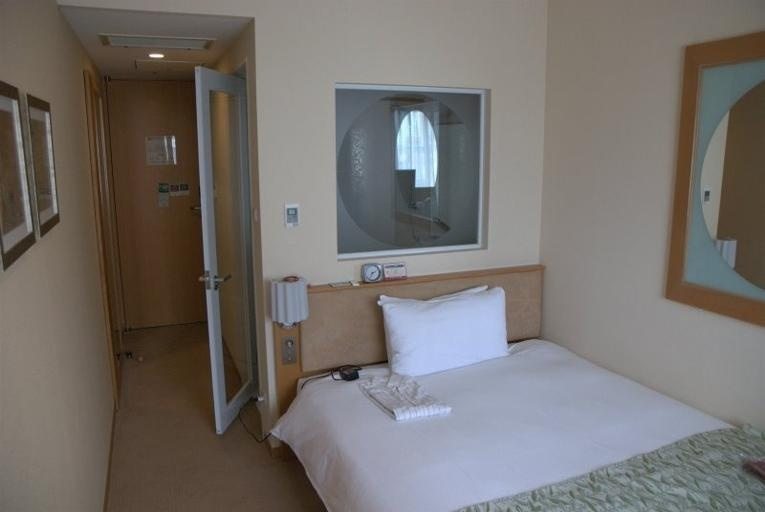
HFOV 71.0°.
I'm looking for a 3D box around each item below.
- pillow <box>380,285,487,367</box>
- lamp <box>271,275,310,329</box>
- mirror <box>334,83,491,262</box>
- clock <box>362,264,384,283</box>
[{"bbox_3d":[0.357,0.441,3.944,1.161,0.336,0.135,-7,6,-35],"label":"pillow"},{"bbox_3d":[-0.598,0.313,3.652,0.267,0.292,0.273,-1,3,-3],"label":"lamp"},{"bbox_3d":[0.225,-0.611,3.942,1.127,1.238,0.047,-5,11,-16],"label":"mirror"},{"bbox_3d":[-0.066,0.126,3.784,0.113,0.121,0.056,0,5,-20],"label":"clock"}]
